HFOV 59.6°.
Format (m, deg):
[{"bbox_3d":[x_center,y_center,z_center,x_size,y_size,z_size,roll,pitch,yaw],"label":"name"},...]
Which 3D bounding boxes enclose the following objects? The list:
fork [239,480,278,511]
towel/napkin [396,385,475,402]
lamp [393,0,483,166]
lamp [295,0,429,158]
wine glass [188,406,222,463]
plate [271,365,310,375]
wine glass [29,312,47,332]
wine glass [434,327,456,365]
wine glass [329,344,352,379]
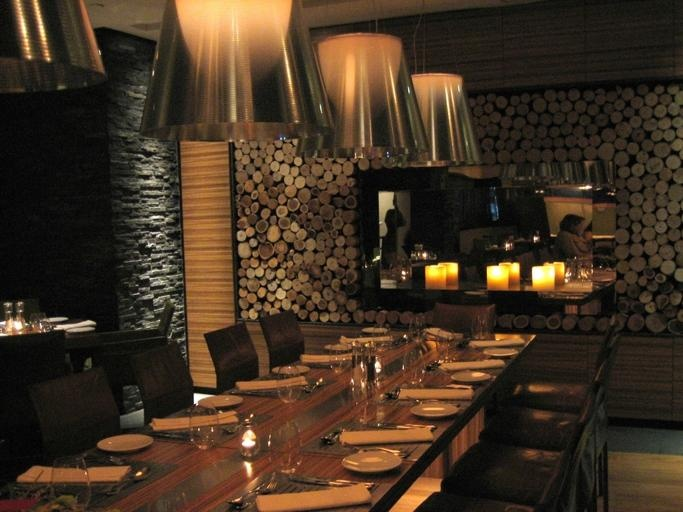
[{"bbox_3d":[-0.287,0.837,2.182,0.041,0.044,0.310,-7,5,18],"label":"fork"},{"bbox_3d":[0.491,0.695,3.010,0.239,0.037,0.134,0,2,5],"label":"towel/napkin"},{"bbox_3d":[0.465,-1.001,3.220,0.501,0.892,0.463,18,24,41],"label":"lamp"},{"bbox_3d":[0.075,-0.669,2.617,0.581,0.460,0.586,2,1,10],"label":"lamp"},{"bbox_3d":[-0.562,0.701,2.449,0.146,0.175,0.146,-7,3,-23],"label":"wine glass"},{"bbox_3d":[-0.264,0.622,3.243,0.211,0.028,0.203,0,2,-13],"label":"plate"},{"bbox_3d":[-2.449,0.539,4.823,0.166,0.167,0.128,-5,-2,37],"label":"wine glass"},{"bbox_3d":[0.649,0.569,3.822,0.139,0.257,0.184,-1,1,4],"label":"wine glass"},{"bbox_3d":[0.026,0.599,3.390,0.156,0.167,0.150,-1,2,-18],"label":"wine glass"}]
